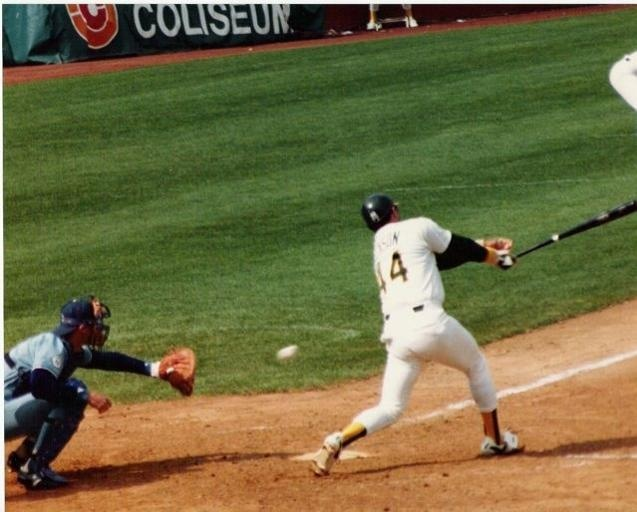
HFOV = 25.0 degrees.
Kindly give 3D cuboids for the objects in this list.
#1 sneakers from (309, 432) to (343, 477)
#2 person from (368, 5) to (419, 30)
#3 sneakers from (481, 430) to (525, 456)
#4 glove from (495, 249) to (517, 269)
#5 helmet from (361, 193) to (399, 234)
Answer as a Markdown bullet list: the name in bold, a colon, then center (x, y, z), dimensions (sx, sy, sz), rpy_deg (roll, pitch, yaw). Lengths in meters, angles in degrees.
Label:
- **sneakers**: center (0.141, 2.130, 15.570), dimensions (0.211, 0.487, 0.285), rpy_deg (29, 10, -37)
- **person**: center (1.175, -3.785, 22.403), dimensions (0.799, 0.389, 0.458), rpy_deg (-4, 18, 2)
- **sneakers**: center (2.064, 2.097, 15.838), dimensions (0.442, 0.207, 0.210), rpy_deg (-17, 35, -16)
- **glove**: center (2.116, 0.048, 16.020), dimensions (0.214, 0.092, 0.166), rpy_deg (35, 35, 21)
- **helmet**: center (0.685, -0.524, 16.009), dimensions (0.325, 0.401, 0.416), rpy_deg (-17, 22, 38)
